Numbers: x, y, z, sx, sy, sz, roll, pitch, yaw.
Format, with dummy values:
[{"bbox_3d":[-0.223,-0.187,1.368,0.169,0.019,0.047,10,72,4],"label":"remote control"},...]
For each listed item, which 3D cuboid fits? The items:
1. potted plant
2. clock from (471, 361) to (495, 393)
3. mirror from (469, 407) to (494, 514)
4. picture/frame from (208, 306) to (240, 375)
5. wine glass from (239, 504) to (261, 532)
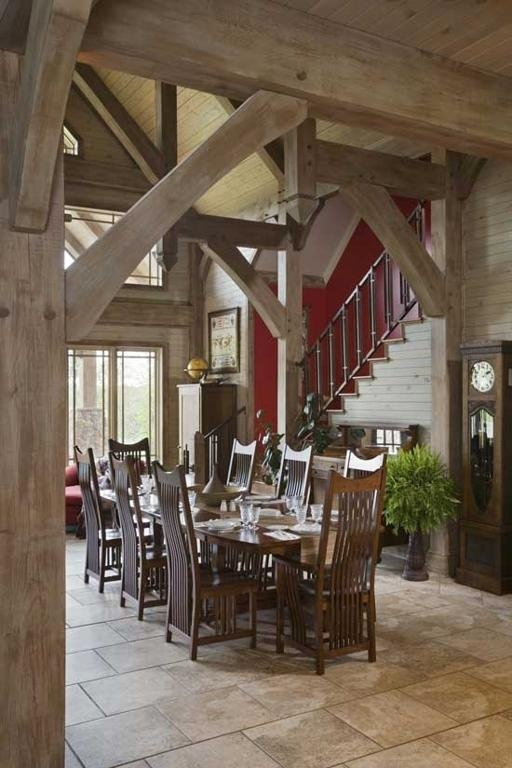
[{"bbox_3d":[1.325,1.036,5.649,0.570,1.062,0.712,0,-1,17],"label":"potted plant"},{"bbox_3d":[1.739,-0.057,5.424,0.015,0.241,0.272,1,-2,-20],"label":"clock"},{"bbox_3d":[1.743,0.579,5.442,0.055,0.798,0.271,0,-1,-16],"label":"mirror"},{"bbox_3d":[-0.425,-0.601,9.572,0.051,1.128,0.913,0,0,-24],"label":"picture/frame"},{"bbox_3d":[-0.037,0.743,3.942,0.147,0.181,0.127,-1,-9,-2],"label":"wine glass"}]
